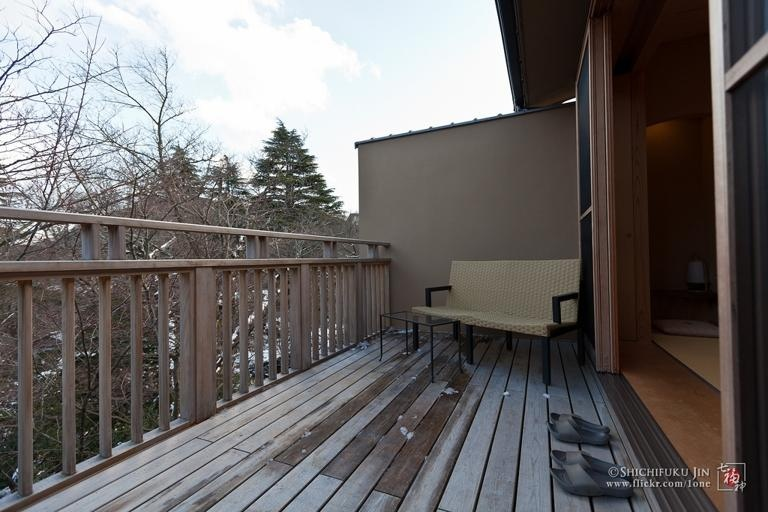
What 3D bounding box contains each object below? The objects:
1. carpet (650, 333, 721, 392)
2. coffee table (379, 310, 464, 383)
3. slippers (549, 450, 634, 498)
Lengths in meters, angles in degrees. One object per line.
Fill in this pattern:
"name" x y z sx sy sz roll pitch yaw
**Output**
"carpet" 3.153 1.004 5.159 0.613 0.172 1.269 7 18 32
"coffee table" 0.448 0.895 5.770 0.604 0.645 0.995 2 -3 -31
"slippers" 1.621 1.696 3.840 0.604 0.200 0.283 -1 15 4
